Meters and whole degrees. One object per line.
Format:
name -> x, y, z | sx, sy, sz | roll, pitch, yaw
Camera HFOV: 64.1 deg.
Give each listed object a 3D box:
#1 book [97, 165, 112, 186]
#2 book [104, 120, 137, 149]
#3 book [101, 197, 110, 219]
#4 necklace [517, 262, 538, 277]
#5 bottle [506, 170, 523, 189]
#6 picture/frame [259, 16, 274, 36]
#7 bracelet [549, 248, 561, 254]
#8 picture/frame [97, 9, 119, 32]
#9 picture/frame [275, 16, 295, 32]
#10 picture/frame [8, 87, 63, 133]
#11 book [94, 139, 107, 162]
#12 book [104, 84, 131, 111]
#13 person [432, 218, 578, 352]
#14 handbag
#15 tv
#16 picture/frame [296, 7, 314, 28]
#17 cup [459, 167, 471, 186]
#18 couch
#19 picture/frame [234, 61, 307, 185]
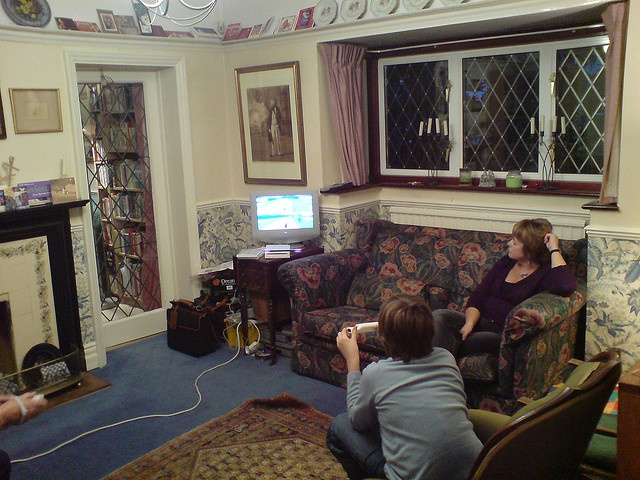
book -> -1.958, -0.582, 4.669 | 0.026, 0.204, 0.139 | 6, 16, 35
book -> -1.851, -0.950, 4.753 | 0.036, 0.263, 0.335 | 5, 15, 31
book -> -1.946, -0.293, 4.689 | 0.022, 0.190, 0.100 | 4, 15, 30
necklace -> 1.404, 0.196, 3.478 | 0.087, 0.062, 0.115 | 1, 14, 19
bottle -> 1.621, -0.503, 4.273 | 0.135, 0.157, 0.137 | 0, 3, -14
picture/frame -> -0.486, -1.987, 4.752 | 0.141, 0.146, 0.055 | 6, 15, 34
bracelet -> 1.554, 0.075, 3.373 | 0.074, 0.039, 0.039 | -5, 13, -11
picture/frame -> -1.793, -1.845, 4.308 | 0.014, 0.191, 0.170 | -1, 34, 24
picture/frame -> -0.309, -1.951, 4.632 | 0.187, 0.139, 0.026 | 9, 2, 41
picture/frame -> -2.222, -1.009, 3.969 | 0.023, 0.326, 0.337 | 12, 21, 39
book -> -1.977, -0.814, 4.621 | 0.019, 0.205, 0.103 | 4, 15, 29
book -> -1.860, -1.303, 4.677 | 0.078, 0.246, 0.224 | 3, 17, 34
person -> 1.166, 0.388, 3.461 | 0.909, 1.057, 0.652 | 4, 7, -2
handbag -> -1.144, 0.769, 4.706 | 0.539, 0.465, 0.372 | 4, 15, 29
tv -> -0.279, -0.204, 4.677 | 0.781, 0.656, 0.406 | -1, 2, 2
picture/frame -> -0.123, -1.956, 4.507 | 0.212, 0.220, 0.021 | -7, -16, 40
cup -> 1.301, -0.567, 4.576 | 0.123, 0.141, 0.123 | -1, 1, 0
couch -> 0.791, 0.517, 3.918 | 2.153, 1.221, 1.122 | 5, 8, 44
picture/frame -> -0.475, -1.086, 4.905 | 0.802, 1.117, 0.121 | 7, 16, 37
